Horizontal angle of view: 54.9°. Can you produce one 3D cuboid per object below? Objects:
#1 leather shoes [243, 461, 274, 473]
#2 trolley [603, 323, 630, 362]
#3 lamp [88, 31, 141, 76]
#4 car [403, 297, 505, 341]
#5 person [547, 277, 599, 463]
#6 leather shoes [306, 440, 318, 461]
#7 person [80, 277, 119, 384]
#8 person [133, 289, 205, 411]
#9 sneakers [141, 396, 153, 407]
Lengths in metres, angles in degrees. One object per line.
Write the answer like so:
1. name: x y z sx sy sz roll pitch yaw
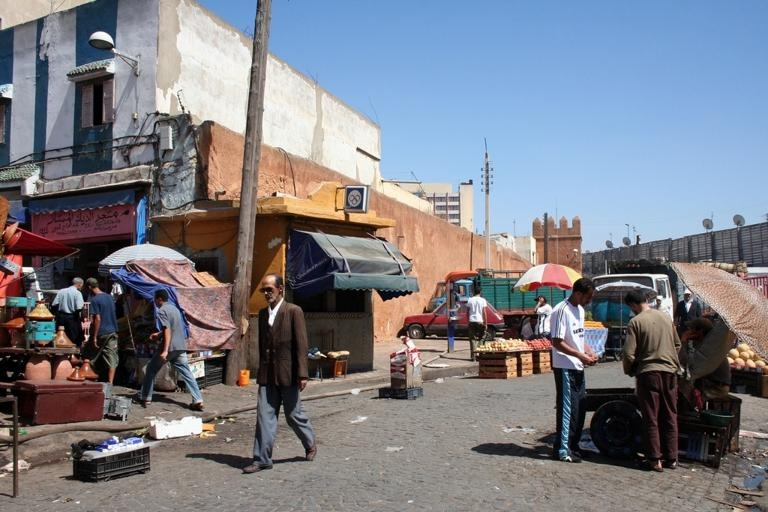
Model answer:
1. leather shoes: -1.874 3.152 11.101 0.422 0.137 0.153 7 -7 -27
2. trolley: 7.060 2.602 23.070 0.901 0.926 0.711 6 11 -25
3. lamp: -7.692 -5.578 20.520 1.272 1.203 1.344 4 7 33
4. car: 2.732 2.831 30.639 3.234 1.425 2.061 2 -2 7
5. person: 2.930 1.764 11.479 0.627 2.795 0.396 0 6 -3
6. leather shoes: -1.111 3.011 11.527 0.111 0.312 0.138 -1 -19 20
7. person: -5.868 1.613 15.419 0.628 2.160 1.349 -3 7 -27
8. person: -4.176 1.844 14.527 1.214 2.333 0.748 3 7 26
9. sneakers: -4.685 2.866 14.627 0.188 0.198 0.109 -5 -11 0
